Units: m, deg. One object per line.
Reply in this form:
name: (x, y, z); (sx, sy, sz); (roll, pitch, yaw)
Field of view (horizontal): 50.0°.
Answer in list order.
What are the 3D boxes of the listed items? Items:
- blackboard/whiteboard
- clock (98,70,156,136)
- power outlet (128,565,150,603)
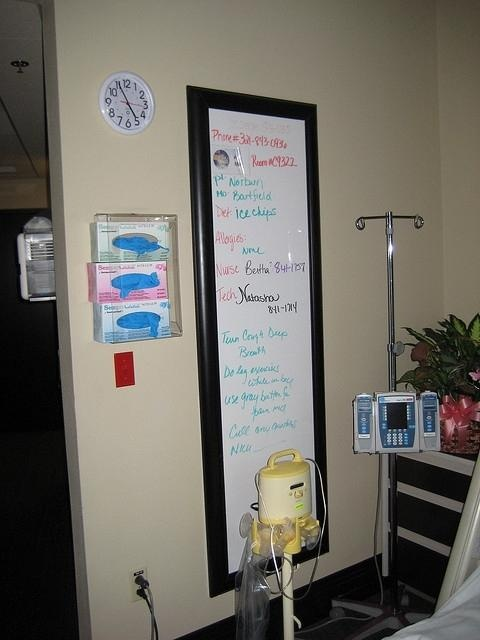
blackboard/whiteboard: (0.091, 0.070, 1.825); (0.563, 1.677, 0.053); (-6, 5, -34)
clock: (-0.339, -0.641, 1.514); (0.019, 0.157, 0.147); (2, 35, 49)
power outlet: (-0.314, 0.834, 1.621); (0.060, 0.102, 0.026); (3, -7, -37)
